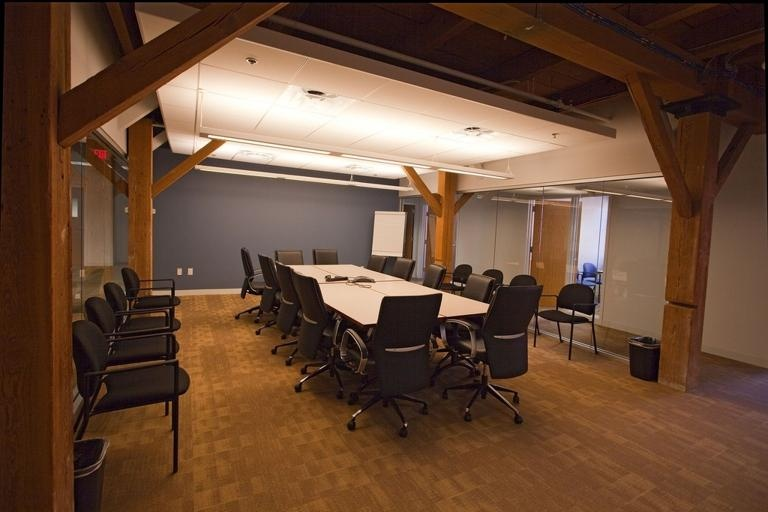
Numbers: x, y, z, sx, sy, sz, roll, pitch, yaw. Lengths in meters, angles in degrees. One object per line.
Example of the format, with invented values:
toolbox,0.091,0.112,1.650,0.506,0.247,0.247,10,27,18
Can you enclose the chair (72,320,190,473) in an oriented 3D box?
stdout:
chair,-2.367,1.166,4.687,1.136,1.170,1.104,5,8,-6

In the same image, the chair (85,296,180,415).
chair,-2.632,0.905,5.432,0.898,0.977,0.795,3,23,-20

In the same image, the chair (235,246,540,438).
chair,0.231,0.964,6.352,2.059,1.436,2.991,0,3,-22

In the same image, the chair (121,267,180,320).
chair,-3.402,0.556,7.333,0.832,0.897,0.774,-1,6,-17

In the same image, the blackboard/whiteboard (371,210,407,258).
blackboard/whiteboard,0.106,-0.520,11.978,0.244,1.519,1.347,6,-5,-40
